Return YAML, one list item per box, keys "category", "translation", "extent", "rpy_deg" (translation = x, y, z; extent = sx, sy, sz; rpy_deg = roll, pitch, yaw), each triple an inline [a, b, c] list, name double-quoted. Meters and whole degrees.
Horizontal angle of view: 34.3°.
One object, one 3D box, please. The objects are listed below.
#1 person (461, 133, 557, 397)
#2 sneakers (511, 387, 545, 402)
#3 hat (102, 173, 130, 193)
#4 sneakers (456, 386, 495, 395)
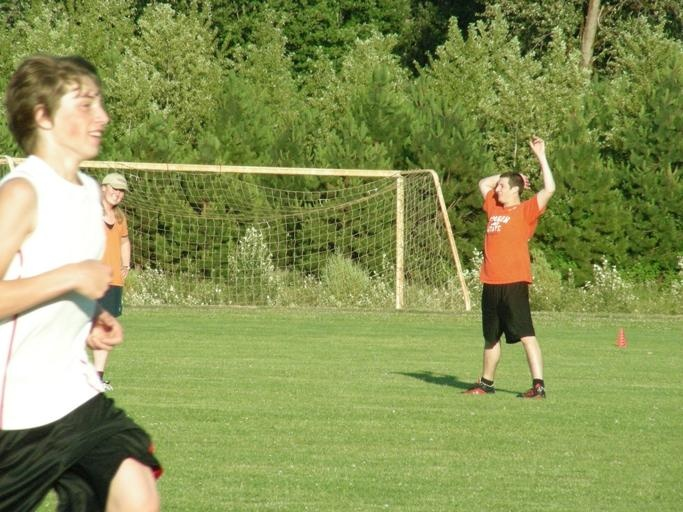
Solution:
- category: "person"
  translation: [2.101, 0.134, 13.662]
  extent: [1.117, 3.231, 0.637]
  rpy_deg: [0, 3, 40]
- category: "sneakers"
  translation: [2.284, 1.698, 13.676]
  extent: [0.389, 0.173, 0.147]
  rpy_deg: [3, 0, 6]
- category: "hat"
  translation: [-2.964, -0.990, 14.393]
  extent: [0.272, 0.204, 0.379]
  rpy_deg: [8, -9, -26]
- category: "sneakers"
  translation: [1.699, 1.671, 13.922]
  extent: [0.386, 0.165, 0.138]
  rpy_deg: [0, -3, -5]
